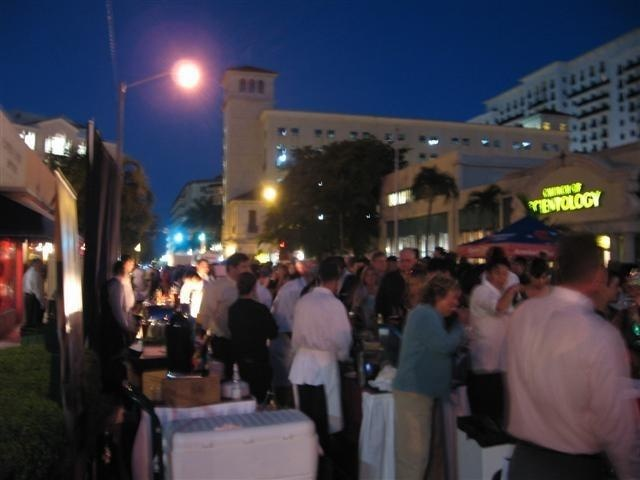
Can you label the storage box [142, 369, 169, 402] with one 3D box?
[{"bbox_3d":[-1.834,1.641,6.544,0.268,0.288,0.204,9,-26,-16],"label":"storage box"}]
